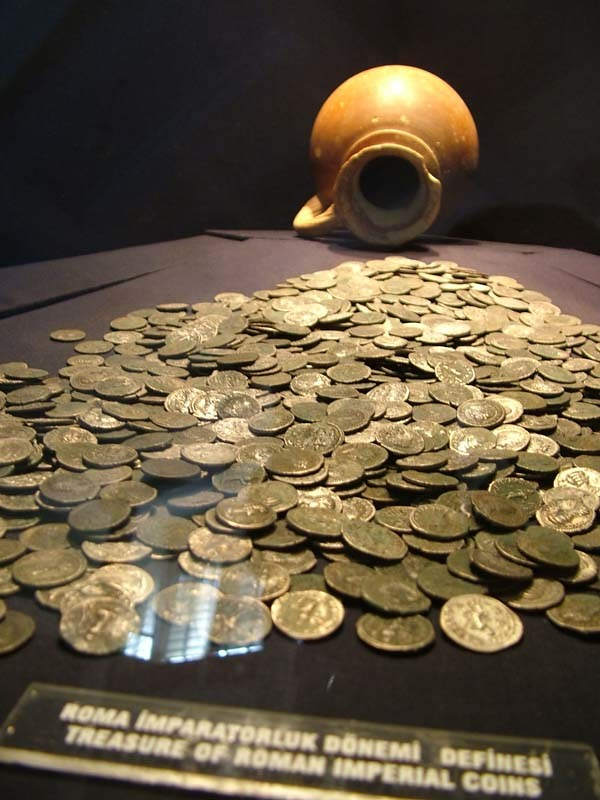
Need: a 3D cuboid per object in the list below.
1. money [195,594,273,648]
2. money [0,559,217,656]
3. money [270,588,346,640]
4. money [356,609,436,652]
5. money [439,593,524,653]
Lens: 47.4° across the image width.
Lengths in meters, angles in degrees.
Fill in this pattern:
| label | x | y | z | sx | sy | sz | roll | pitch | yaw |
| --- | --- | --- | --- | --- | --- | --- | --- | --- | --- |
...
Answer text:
| label | x | y | z | sx | sy | sz | roll | pitch | yaw |
| --- | --- | --- | --- | --- | --- | --- | --- | --- | --- |
| money | -0.083 | 0.307 | 0.938 | 0.098 | 0.017 | 0.103 | 10 | 26 | -1 |
| money | -0.228 | 0.293 | 0.959 | 0.221 | 0.060 | 0.179 | 0 | 8 | 1 |
| money | 0.007 | 0.308 | 0.977 | 0.106 | 0.035 | 0.091 | -4 | 10 | -29 |
| money | 0.131 | 0.325 | 0.949 | 0.104 | 0.028 | 0.067 | 1 | 8 | 4 |
| money | 0.253 | 0.315 | 0.966 | 0.112 | 0.042 | 0.097 | -2 | 8 | -12 |
